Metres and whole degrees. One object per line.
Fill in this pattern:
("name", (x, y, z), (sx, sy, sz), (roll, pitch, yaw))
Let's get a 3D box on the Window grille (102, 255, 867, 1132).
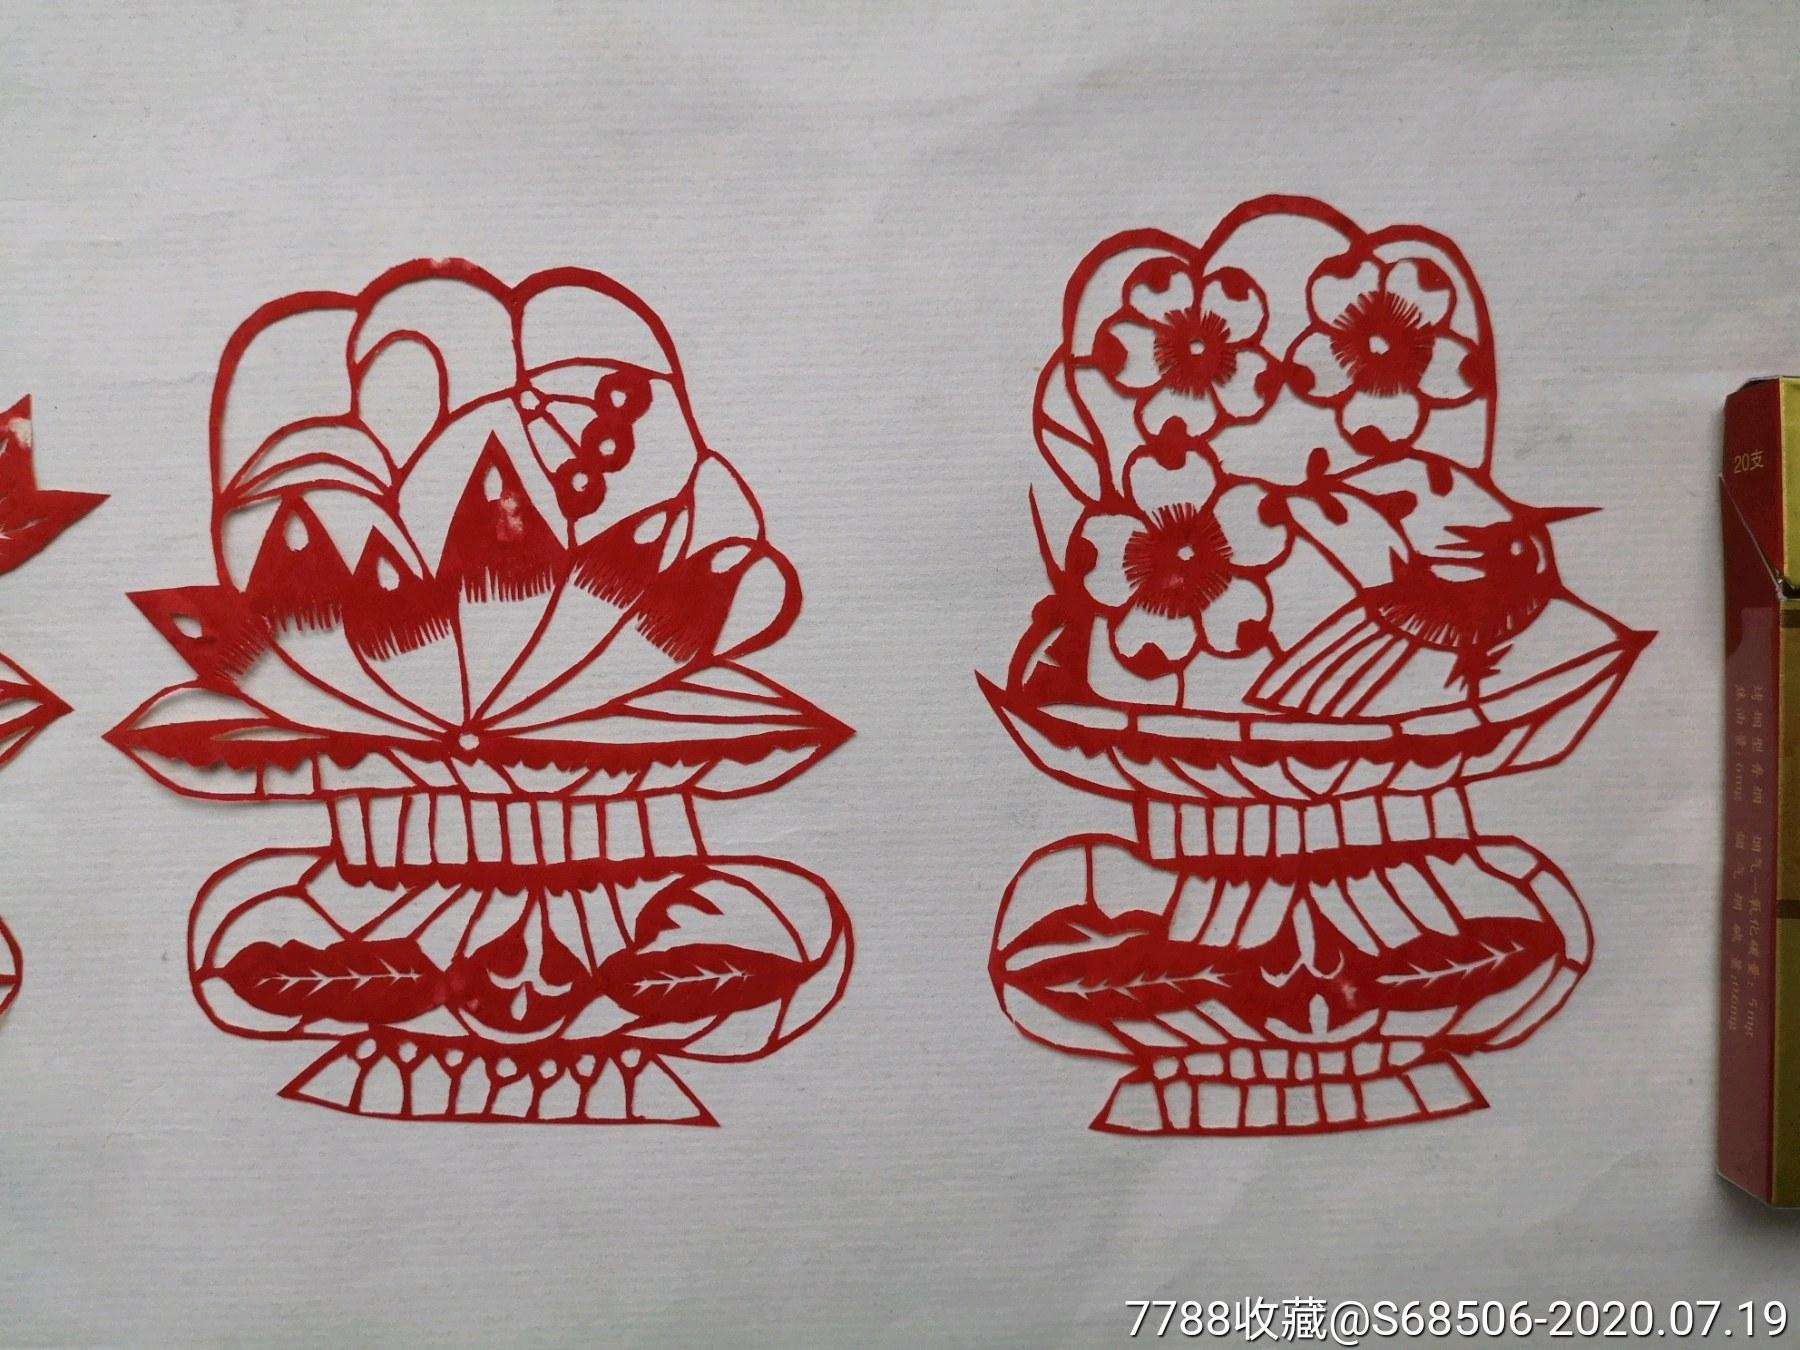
("Window grille", (-0.417, 0.035, 4.424), (0.944, 0.014, 1.013), (0, 88, -3))
